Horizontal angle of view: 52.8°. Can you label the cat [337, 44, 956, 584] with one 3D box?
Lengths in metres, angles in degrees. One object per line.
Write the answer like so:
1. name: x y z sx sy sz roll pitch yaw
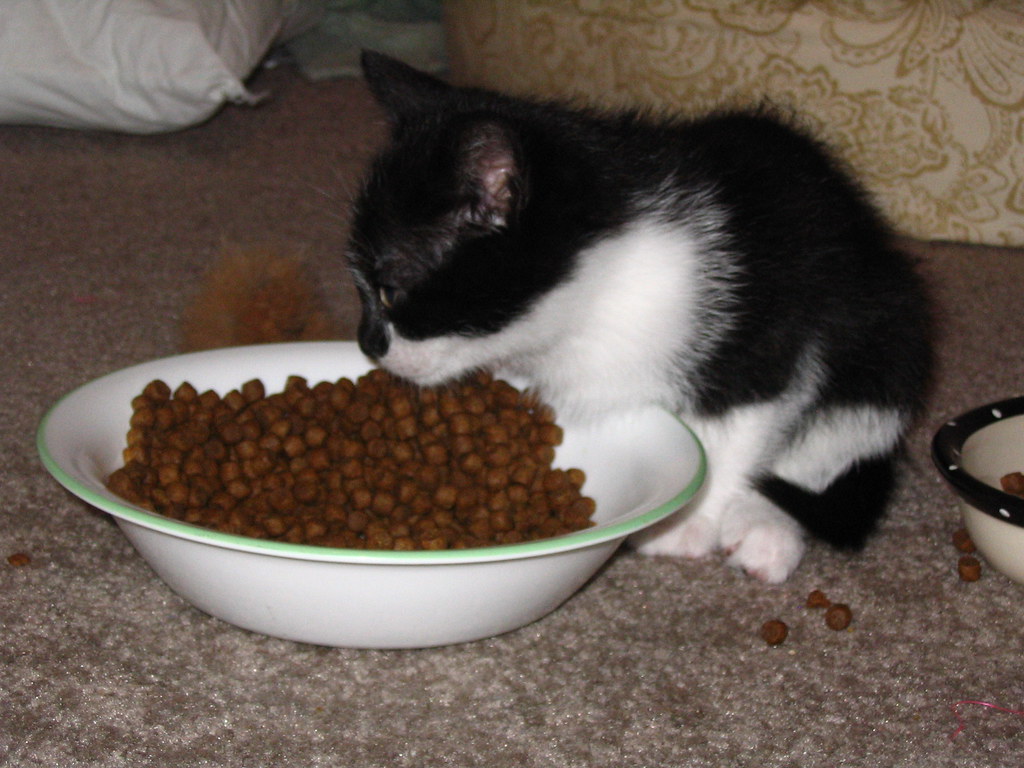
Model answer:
1. cat: 0.224 -0.221 1.822 0.966 0.748 0.639 -14 25 -7
